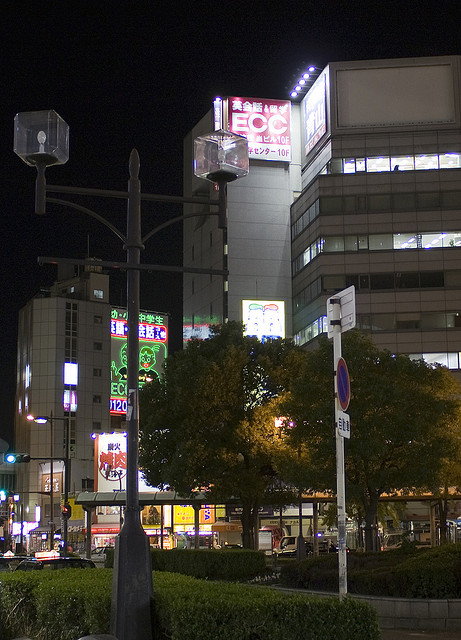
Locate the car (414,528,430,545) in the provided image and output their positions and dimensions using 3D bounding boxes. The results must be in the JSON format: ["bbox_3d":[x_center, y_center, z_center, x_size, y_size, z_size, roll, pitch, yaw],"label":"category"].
[{"bbox_3d":[15.212,17.210,101.798,1.124,1.303,4.716,-4,-13,10],"label":"car"}]

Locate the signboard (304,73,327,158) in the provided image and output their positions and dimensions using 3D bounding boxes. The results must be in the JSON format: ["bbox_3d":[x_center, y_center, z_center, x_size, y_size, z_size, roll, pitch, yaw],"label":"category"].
[{"bbox_3d":[6.626,-15.633,96.845,0.201,5.192,4.643,1,-13,-17],"label":"signboard"}]
